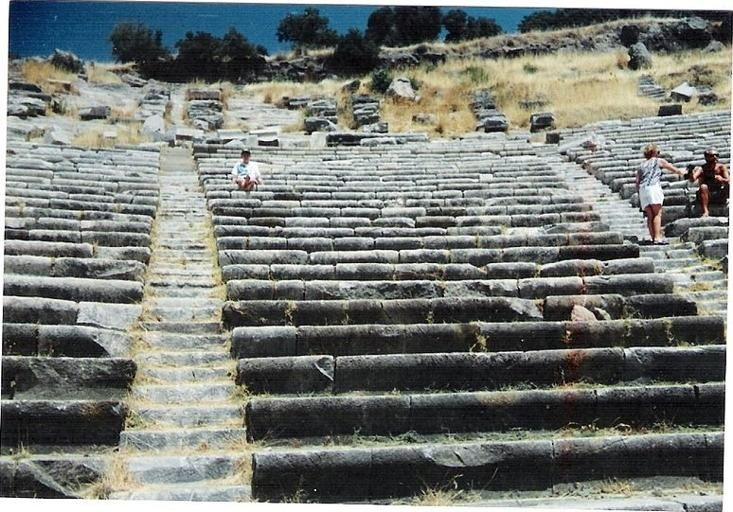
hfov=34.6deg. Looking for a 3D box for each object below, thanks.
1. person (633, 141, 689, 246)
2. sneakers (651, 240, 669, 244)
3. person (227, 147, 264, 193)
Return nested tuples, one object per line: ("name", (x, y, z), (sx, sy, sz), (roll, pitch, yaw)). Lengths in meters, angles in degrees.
("person", (6.370, -1.379, 25.609), (0.902, 1.775, 1.089), (-3, 1, 14))
("sneakers", (6.319, -0.343, 25.210), (0.333, 0.132, 0.119), (0, 3, -1))
("person", (-2.784, -1.919, 26.818), (0.784, 1.071, 0.568), (0, 4, -33))
